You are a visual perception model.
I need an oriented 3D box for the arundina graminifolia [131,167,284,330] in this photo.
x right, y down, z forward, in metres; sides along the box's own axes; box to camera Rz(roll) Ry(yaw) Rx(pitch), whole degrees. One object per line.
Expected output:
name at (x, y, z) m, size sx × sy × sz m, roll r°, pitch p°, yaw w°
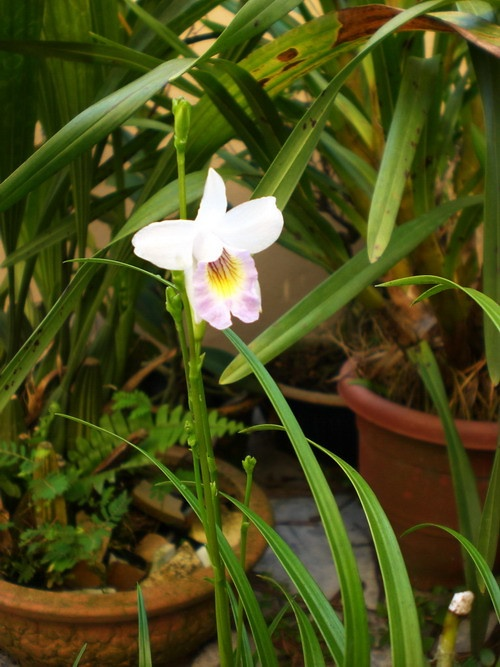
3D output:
arundina graminifolia at (-0.029, -0.060, 0.425) m, size 0.099 × 0.119 × 0.054 m, roll -5°, pitch 4°, yaw -41°
